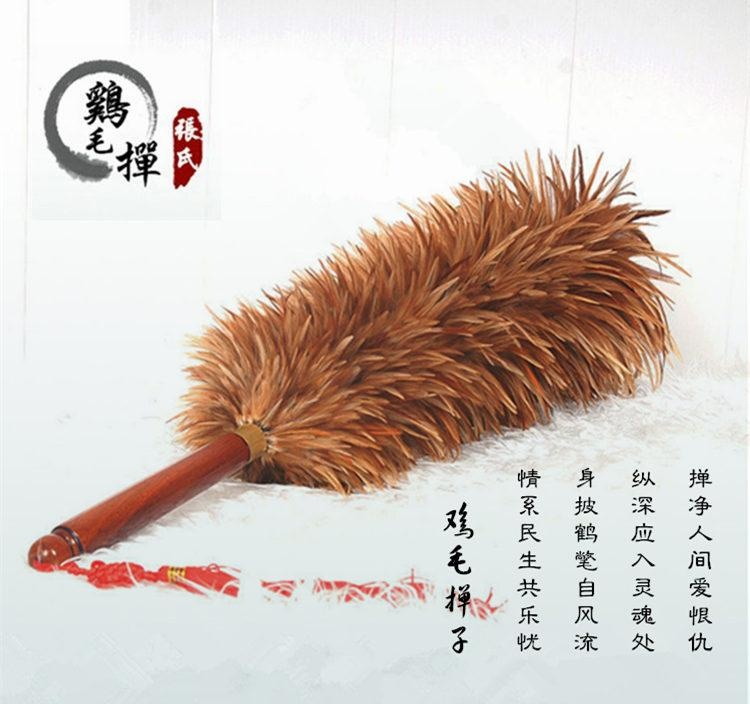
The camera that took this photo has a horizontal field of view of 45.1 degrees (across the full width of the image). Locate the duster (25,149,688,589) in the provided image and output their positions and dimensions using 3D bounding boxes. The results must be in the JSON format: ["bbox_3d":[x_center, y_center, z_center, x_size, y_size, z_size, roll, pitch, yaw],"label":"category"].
[{"bbox_3d":[-0.031,-0.012,1.416,0.909,0.369,0.341,-28,-26,-10],"label":"duster"}]
